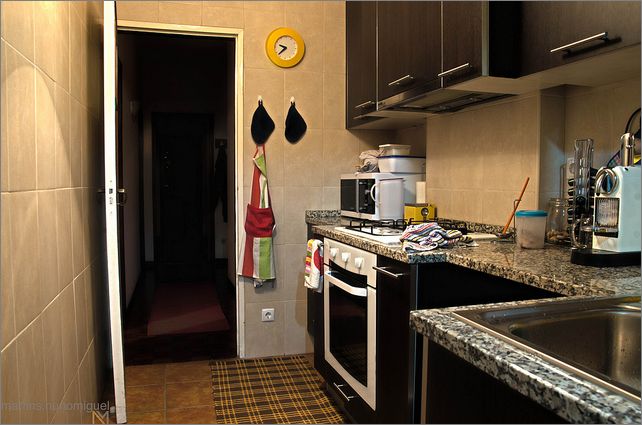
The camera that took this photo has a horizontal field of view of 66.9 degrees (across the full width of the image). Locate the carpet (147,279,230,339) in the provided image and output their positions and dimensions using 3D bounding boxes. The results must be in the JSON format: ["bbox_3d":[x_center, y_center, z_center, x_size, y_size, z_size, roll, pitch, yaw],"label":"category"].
[{"bbox_3d":[-1.424,1.019,5.049,0.578,0.117,1.330,0,7,-15],"label":"carpet"}]

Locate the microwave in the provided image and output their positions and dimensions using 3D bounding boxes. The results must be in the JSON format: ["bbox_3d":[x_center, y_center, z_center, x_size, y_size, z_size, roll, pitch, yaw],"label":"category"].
[{"bbox_3d":[0.420,-0.126,3.415,0.390,0.376,0.486,0,5,-25],"label":"microwave"}]

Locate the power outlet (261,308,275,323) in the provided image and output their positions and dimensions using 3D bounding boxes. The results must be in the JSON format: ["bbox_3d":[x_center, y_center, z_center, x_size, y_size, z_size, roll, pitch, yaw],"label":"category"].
[{"bbox_3d":[-0.424,0.801,3.807,0.105,0.114,0.011,2,-3,-18],"label":"power outlet"}]

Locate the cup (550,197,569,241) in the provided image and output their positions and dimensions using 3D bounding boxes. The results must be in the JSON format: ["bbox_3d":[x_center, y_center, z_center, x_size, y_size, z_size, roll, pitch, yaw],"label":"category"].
[{"bbox_3d":[1.235,0.038,2.522,0.101,0.229,0.059,3,6,28],"label":"cup"}]

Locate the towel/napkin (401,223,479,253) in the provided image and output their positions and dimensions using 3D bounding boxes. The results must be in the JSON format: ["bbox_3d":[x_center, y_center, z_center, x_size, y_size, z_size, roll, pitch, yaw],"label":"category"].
[{"bbox_3d":[0.597,0.106,2.527,0.377,0.131,0.406,2,5,-13],"label":"towel/napkin"}]

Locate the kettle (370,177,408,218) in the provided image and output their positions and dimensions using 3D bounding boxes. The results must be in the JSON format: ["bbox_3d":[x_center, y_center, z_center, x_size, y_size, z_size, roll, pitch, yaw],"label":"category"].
[{"bbox_3d":[0.400,-0.091,3.219,0.260,0.344,0.203,-1,3,-10],"label":"kettle"}]

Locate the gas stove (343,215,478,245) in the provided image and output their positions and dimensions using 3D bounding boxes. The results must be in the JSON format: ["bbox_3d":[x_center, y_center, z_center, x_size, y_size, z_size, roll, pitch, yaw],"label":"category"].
[{"bbox_3d":[0.454,0.083,3.261,0.630,0.074,0.642,1,-4,-11],"label":"gas stove"}]
